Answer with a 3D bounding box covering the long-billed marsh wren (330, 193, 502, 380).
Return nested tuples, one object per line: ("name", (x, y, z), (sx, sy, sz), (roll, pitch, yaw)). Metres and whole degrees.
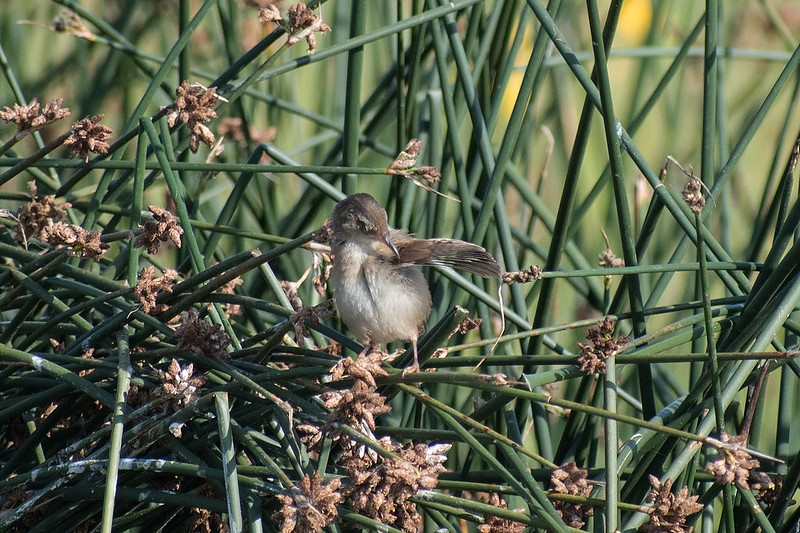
("long-billed marsh wren", (-0.054, 0.065, 6.098), (1.076, 0.802, 0.671), (3, 9, 32))
